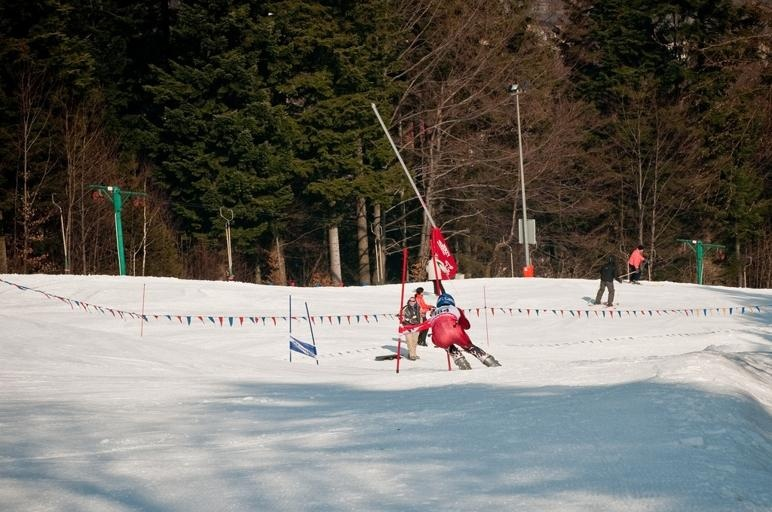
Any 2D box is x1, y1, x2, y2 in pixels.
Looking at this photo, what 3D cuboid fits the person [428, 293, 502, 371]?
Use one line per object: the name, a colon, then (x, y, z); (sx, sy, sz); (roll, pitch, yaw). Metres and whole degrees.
person: (2.658, 2.949, 42.097); (1.599, 3.779, 1.200); (-30, -23, 8)
